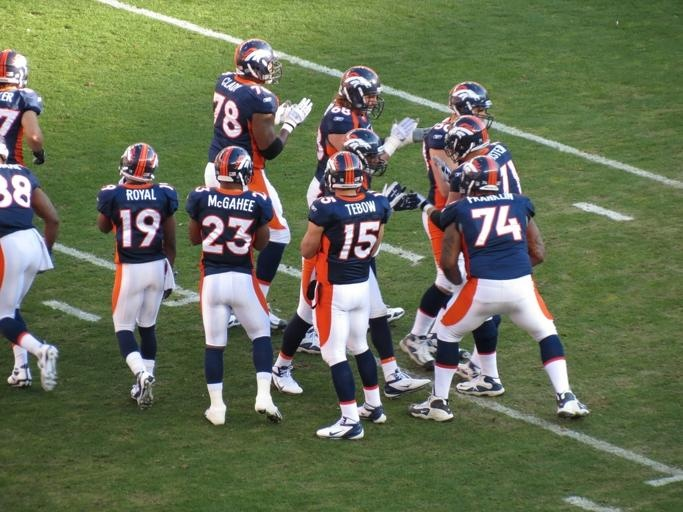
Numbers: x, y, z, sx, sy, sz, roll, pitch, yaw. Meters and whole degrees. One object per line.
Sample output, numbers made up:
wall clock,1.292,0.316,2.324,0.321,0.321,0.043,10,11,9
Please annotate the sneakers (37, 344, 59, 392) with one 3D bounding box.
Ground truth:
sneakers,-2.475,0.953,9.105,0.217,0.369,0.171,22,29,38

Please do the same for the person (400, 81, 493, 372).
person,0.847,0.056,9.981,1.096,2.083,0.655,5,37,3
